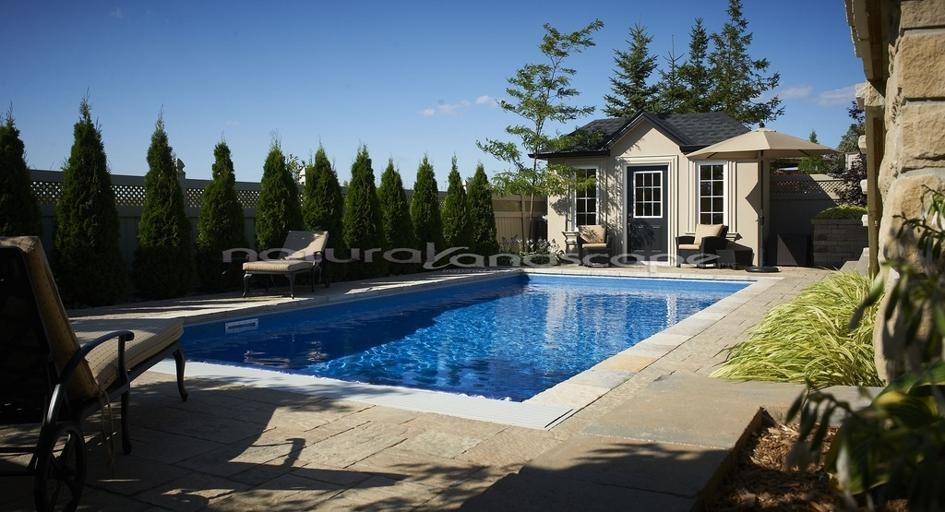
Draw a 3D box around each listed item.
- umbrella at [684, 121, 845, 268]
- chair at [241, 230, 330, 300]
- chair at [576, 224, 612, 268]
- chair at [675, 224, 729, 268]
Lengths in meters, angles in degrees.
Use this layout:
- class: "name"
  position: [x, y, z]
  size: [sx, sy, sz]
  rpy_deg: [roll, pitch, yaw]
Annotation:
- class: "umbrella"
  position: [6.798, -1.183, 14.380]
  size: [3.728, 3.408, 3.927]
  rpy_deg: [-1, 3, 23]
- class: "chair"
  position: [-3.384, 0.043, 10.600]
  size: [1.053, 1.017, 1.611]
  rpy_deg: [-1, 0, 18]
- class: "chair"
  position: [3.296, -0.274, 15.770]
  size: [1.076, 1.348, 1.082]
  rpy_deg: [-1, -4, 9]
- class: "chair"
  position: [5.779, -0.204, 14.645]
  size: [1.216, 1.348, 1.115]
  rpy_deg: [1, -3, -32]
